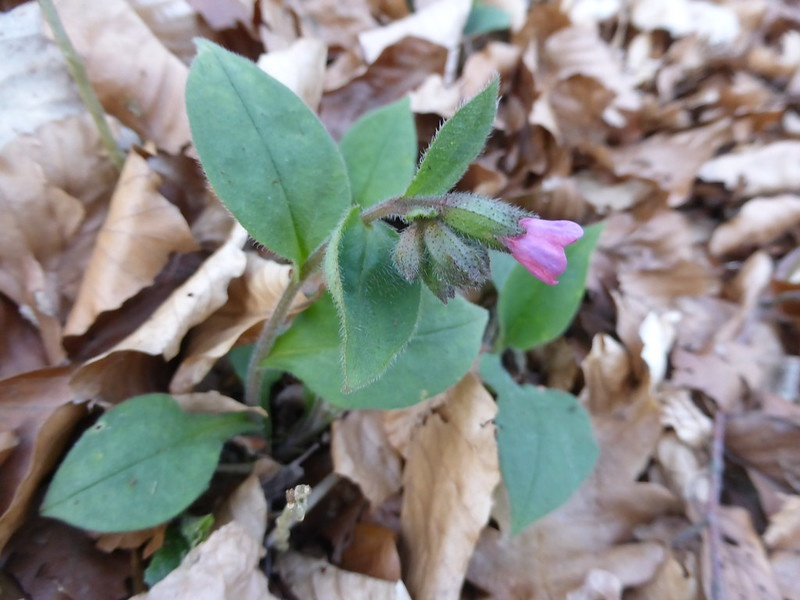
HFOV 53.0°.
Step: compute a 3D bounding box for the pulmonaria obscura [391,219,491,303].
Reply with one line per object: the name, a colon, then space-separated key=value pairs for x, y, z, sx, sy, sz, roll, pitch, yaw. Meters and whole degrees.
pulmonaria obscura: x=0.079 y=-0.069 z=1.502 sx=0.146 sy=0.062 sz=0.149 roll=22 pitch=83 yaw=9
